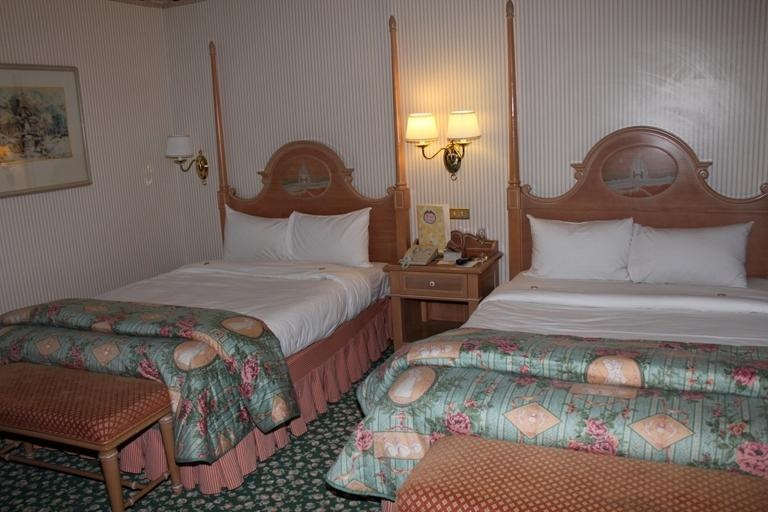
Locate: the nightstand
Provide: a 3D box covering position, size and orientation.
[{"bbox_3d":[0.657,0.266,5.199,1.068,1.022,0.884,2,15,20],"label":"nightstand"}]

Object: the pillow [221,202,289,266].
[{"bbox_3d":[-1.262,-0.209,5.539,0.649,0.439,0.144,5,-7,23],"label":"pillow"}]

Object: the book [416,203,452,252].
[{"bbox_3d":[0.466,-0.262,5.130,0.426,0.565,0.099,4,19,22],"label":"book"}]

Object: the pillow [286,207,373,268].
[{"bbox_3d":[-0.504,-0.156,5.280,0.613,0.372,0.166,0,-11,16],"label":"pillow"}]
